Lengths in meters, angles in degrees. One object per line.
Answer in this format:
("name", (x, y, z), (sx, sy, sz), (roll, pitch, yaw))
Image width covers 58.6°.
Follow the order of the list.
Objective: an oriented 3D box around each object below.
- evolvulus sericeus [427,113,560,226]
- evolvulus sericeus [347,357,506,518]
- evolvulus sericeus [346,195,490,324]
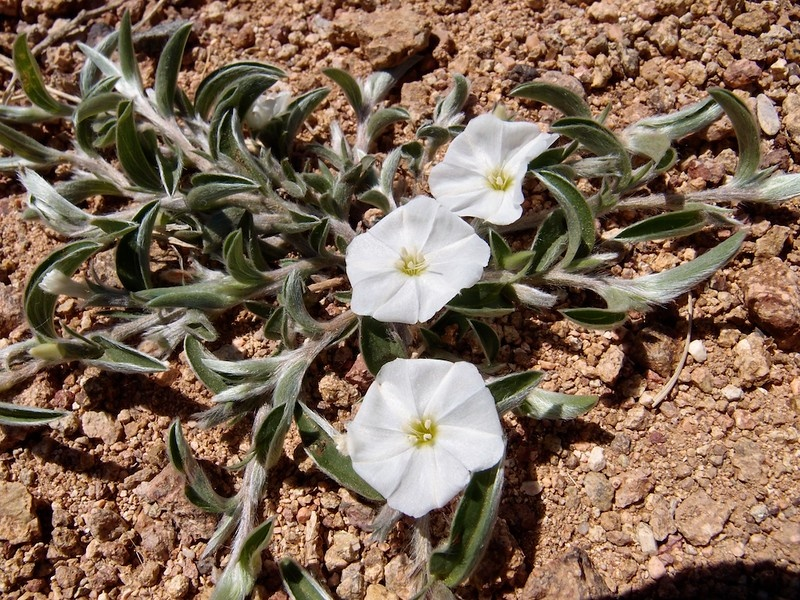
("evolvulus sericeus", (0.448, -0.588, 3.163), (0.485, 0.205, 0.503), (-9, 22, 5))
("evolvulus sericeus", (0.059, 0.577, 2.973), (0.156, 0.573, 0.580), (-10, 7, -42))
("evolvulus sericeus", (0.048, -0.146, 3.125), (0.627, 0.475, 0.227), (-33, -11, -5))
